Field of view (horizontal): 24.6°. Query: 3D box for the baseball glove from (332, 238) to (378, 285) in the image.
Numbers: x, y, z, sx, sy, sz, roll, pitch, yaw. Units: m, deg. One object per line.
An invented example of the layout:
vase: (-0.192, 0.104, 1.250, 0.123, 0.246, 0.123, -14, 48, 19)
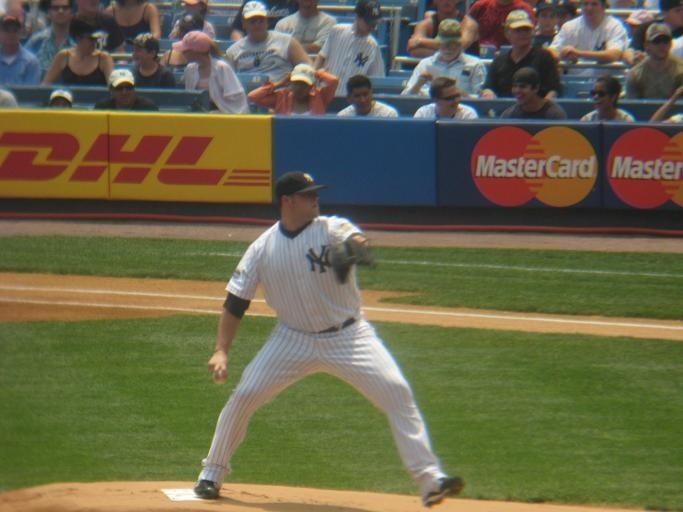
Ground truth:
baseball glove: (0.170, -0.011, 15.706, 0.349, 0.328, 0.404, -8, -9, 31)

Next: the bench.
bench: (0.778, -2.732, 22.395, 5.368, 0.887, 1.055, 2, -15, 5)

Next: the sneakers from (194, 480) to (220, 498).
sneakers: (-1.346, 2.310, 15.594, 0.241, 0.139, 0.122, 6, -29, -4)

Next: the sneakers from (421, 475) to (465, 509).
sneakers: (1.052, 2.301, 15.488, 0.509, 0.184, 0.246, -33, -36, 16)

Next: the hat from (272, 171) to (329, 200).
hat: (-0.438, -0.723, 15.749, 0.415, 0.199, 0.300, -5, 3, 11)
